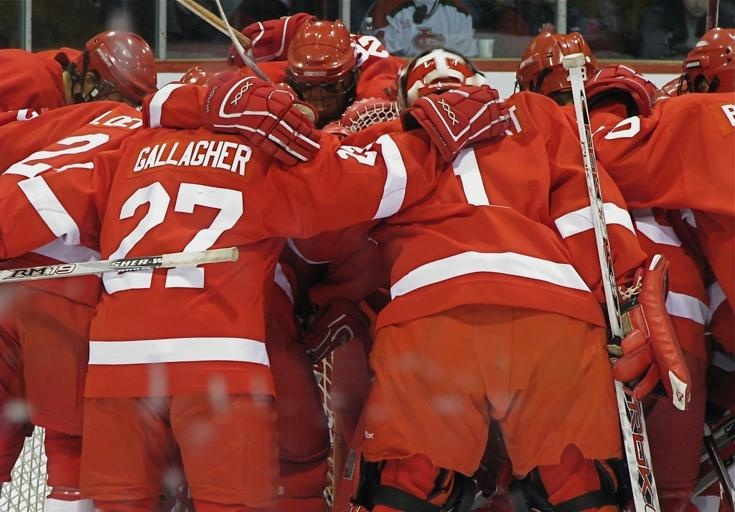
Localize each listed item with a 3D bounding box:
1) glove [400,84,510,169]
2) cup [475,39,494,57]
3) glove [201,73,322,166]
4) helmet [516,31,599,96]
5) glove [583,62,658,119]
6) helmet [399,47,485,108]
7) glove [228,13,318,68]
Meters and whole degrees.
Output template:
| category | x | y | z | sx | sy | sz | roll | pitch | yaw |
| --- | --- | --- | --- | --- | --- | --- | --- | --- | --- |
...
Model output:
| category | x | y | z | sx | sy | sz | roll | pitch | yaw |
| --- | --- | --- | --- | --- | --- | --- | --- | --- | --- |
| glove | 0.315 | -0.500 | 4.668 | 0.379 | 0.277 | 0.155 | -17 | -20 | -22 |
| cup | 0.713 | -1.256 | 7.188 | 0.119 | 0.098 | 0.094 | 2 | -5 | -8 |
| glove | -0.394 | -0.524 | 4.688 | 0.422 | 0.303 | 0.191 | 37 | -2 | 3 |
| helmet | 0.897 | -0.878 | 5.411 | 0.304 | 0.342 | 0.354 | -3 | 0 | -4 |
| glove | 1.110 | -0.724 | 5.135 | 0.300 | 0.213 | 0.268 | -1 | 23 | -6 |
| helmet | 0.307 | -0.748 | 4.943 | 0.262 | 0.278 | 0.258 | 0 | 7 | 1 |
| glove | -0.512 | -1.194 | 6.567 | 0.421 | 0.189 | 0.303 | -10 | 20 | 18 |
